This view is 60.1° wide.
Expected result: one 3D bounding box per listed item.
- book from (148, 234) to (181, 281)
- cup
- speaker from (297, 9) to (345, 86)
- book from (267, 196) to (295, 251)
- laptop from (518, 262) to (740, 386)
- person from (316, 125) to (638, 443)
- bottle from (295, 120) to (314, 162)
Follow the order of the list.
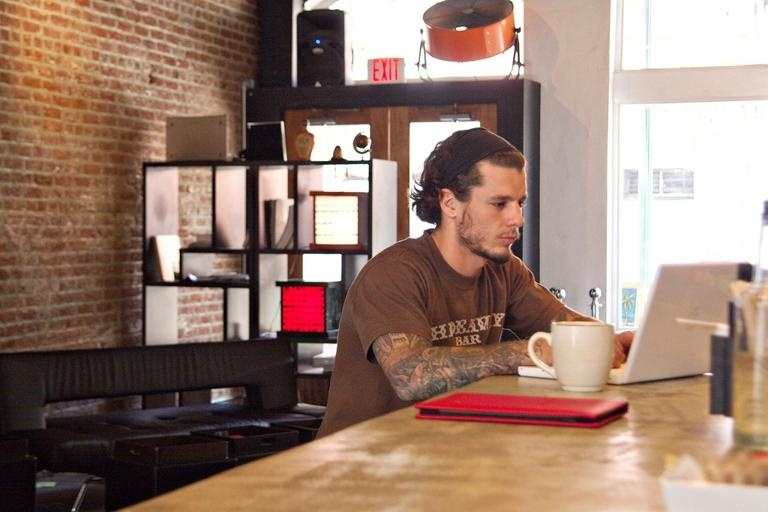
[{"bbox_3d":[-1.639,0.013,5.080,0.235,0.357,0.208,-4,5,-39],"label":"book"},{"bbox_3d":[0.452,0.246,1.583,0.200,0.155,0.157,4,-10,-19],"label":"cup"},{"bbox_3d":[-0.589,-1.856,5.926,0.491,0.696,0.222,1,4,31],"label":"speaker"},{"bbox_3d":[-0.825,-0.267,5.008,0.241,0.317,0.190,-8,10,-30],"label":"book"},{"bbox_3d":[0.675,0.145,1.619,0.325,0.191,0.284,3,-3,-43],"label":"laptop"},{"bbox_3d":[0.232,-0.018,2.584,1.047,1.348,0.899,3,2,35],"label":"person"},{"bbox_3d":[-0.631,-0.885,5.123,0.190,0.386,0.039,2,48,-1],"label":"bottle"}]
